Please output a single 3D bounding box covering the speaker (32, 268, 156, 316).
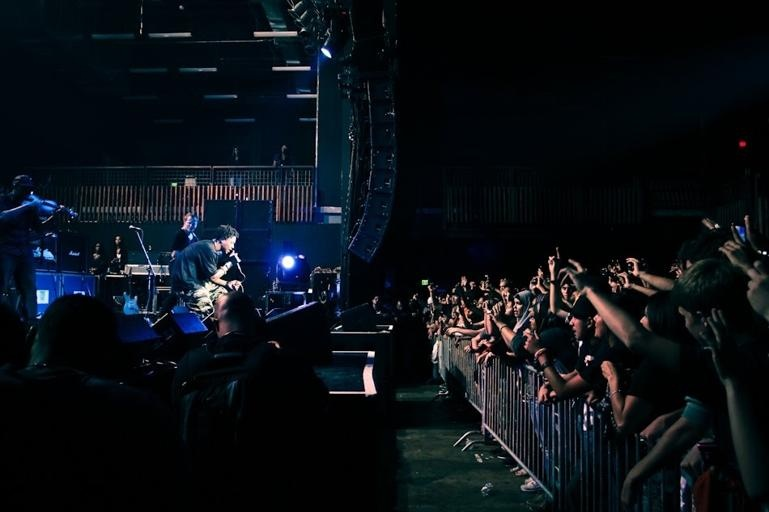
[{"bbox_3d":[-6.362,0.539,14.909,1.690,1.402,2.593,-5,-6,32],"label":"speaker"}]

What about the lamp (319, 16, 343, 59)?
[{"bbox_3d":[-0.880,-3.441,11.025,0.406,0.287,0.822,24,-16,-5],"label":"lamp"}]

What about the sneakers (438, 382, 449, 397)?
[{"bbox_3d":[1.140,2.574,13.151,0.187,0.205,0.181,0,-13,7],"label":"sneakers"}]
